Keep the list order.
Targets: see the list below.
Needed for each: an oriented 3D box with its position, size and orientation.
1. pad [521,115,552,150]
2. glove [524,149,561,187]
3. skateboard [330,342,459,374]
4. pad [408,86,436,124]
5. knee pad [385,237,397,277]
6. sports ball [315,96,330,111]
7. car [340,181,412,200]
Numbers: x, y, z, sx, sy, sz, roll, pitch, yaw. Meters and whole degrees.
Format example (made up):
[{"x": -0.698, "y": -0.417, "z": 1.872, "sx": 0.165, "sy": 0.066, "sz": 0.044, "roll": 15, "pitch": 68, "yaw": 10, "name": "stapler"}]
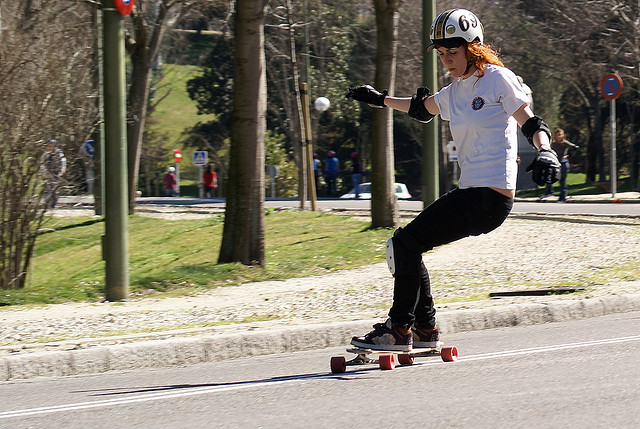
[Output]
[{"x": 2.029, "y": -0.770, "z": 8.495, "sx": 0.325, "sy": 0.279, "sz": 0.351, "roll": -11, "pitch": -2, "yaw": 0, "name": "pad"}, {"x": 2.010, "y": -0.422, "z": 8.179, "sx": 0.285, "sy": 0.331, "sz": 0.317, "roll": 0, "pitch": 1, "yaw": 10, "name": "glove"}, {"x": 0.698, "y": 1.405, "z": 8.963, "sx": 0.847, "sy": 0.155, "sz": 0.487, "roll": 2, "pitch": -5, "yaw": -40, "name": "skateboard"}, {"x": 1.004, "y": -1.174, "z": 9.180, "sx": 0.132, "sy": 0.235, "sz": 0.291, "roll": -10, "pitch": 8, "yaw": -34, "name": "pad"}, {"x": 0.691, "y": 0.411, "z": 8.791, "sx": 0.114, "sy": 0.283, "sz": 0.252, "roll": -2, "pitch": -6, "yaw": 0, "name": "knee pad"}, {"x": 0.155, "y": -3.192, "z": 26.351, "sx": 0.580, "sy": 0.402, "sz": 0.509, "roll": 0, "pitch": 4, "yaw": -30, "name": "sports ball"}, {"x": 2.191, "y": -0.826, "z": 33.667, "sx": 2.301, "sy": 0.681, "sz": 0.975, "roll": 1, "pitch": 1, "yaw": -7, "name": "car"}]
